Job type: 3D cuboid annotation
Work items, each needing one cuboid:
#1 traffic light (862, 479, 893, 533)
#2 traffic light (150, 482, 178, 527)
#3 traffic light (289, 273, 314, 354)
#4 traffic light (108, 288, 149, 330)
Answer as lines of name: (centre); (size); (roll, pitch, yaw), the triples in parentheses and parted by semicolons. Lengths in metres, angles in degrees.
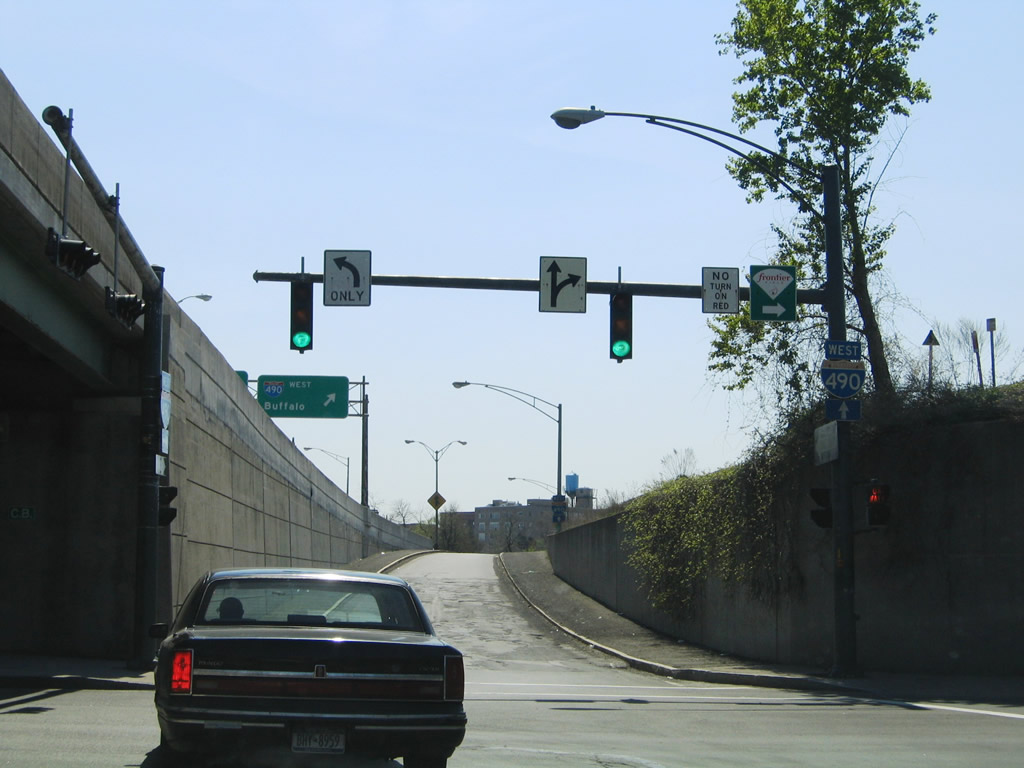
traffic light: (6.693, 2.204, 25.775); (0.405, 0.891, 0.306); (-3, -14, 6)
traffic light: (-6.873, 2.400, 27.887); (0.381, 0.828, 0.555); (1, -15, -7)
traffic light: (-4.388, -1.470, 29.210); (0.385, 1.640, 0.214); (-4, -14, 12)
traffic light: (-7.336, -1.518, 26.641); (0.648, 0.721, 0.537); (2, -16, -12)
